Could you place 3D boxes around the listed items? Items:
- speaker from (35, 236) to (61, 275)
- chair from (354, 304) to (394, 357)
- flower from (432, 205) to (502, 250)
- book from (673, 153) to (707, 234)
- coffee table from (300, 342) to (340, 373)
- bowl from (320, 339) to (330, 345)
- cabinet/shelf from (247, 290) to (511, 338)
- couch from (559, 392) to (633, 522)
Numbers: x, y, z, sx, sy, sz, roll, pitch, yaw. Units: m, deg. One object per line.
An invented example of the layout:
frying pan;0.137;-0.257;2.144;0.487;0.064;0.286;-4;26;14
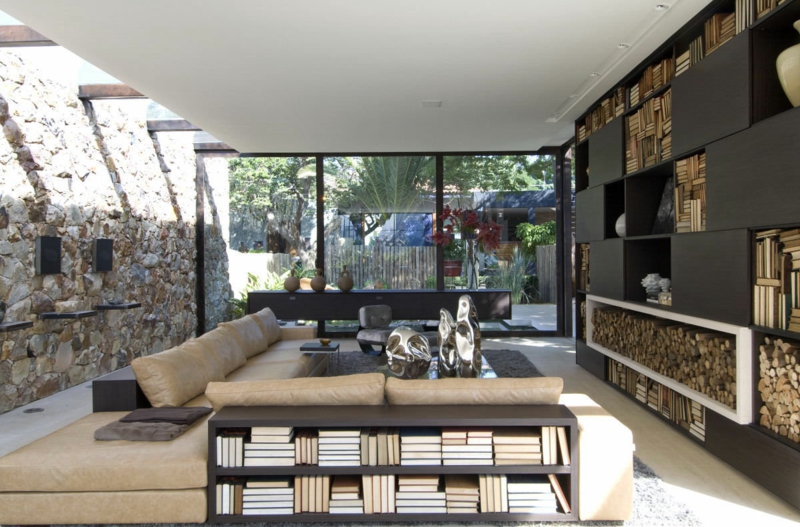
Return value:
speaker;-4.096;-0.089;6.301;0.114;0.461;0.279;-2;4;8
chair;-0.361;0.933;7.910;0.547;0.628;0.692;2;-10;-16
flower;1.173;-0.644;9.502;1.119;0.558;1.027;-12;-19;36
book;2.825;-0.681;5.266;0.167;0.580;0.416;1;-2;5
coffee table;-0.981;1.312;6.764;0.389;0.450;0.702;-1;2;6
bowl;-0.934;0.991;6.757;0.076;0.052;0.077;0;-4;0
cabinet/shelf;-0.328;0.978;9.190;4.408;0.939;0.703;0;2;1
couch;1.486;1.534;4.135;0.301;0.466;0.953;-1;5;2
